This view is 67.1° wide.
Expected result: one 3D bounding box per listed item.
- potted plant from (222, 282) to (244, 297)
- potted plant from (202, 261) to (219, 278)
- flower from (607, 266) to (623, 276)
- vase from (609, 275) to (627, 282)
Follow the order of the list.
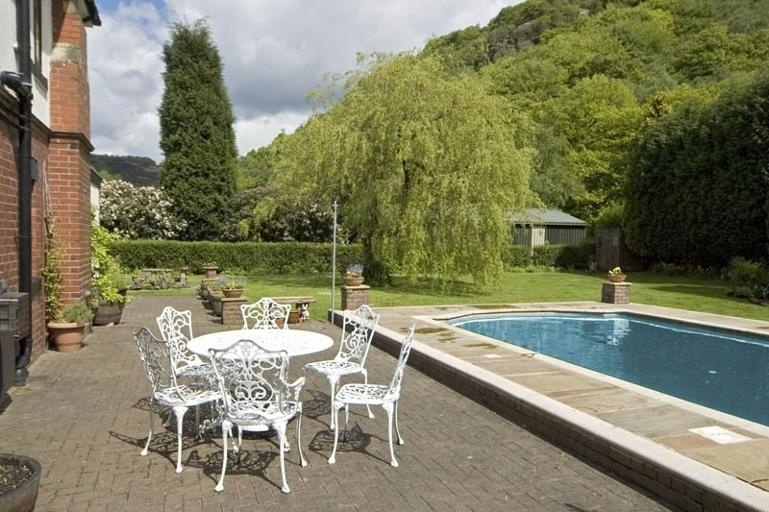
[{"bbox_3d":[-3.932,0.917,15.153,0.448,0.188,0.447,0,-6,-6],"label":"potted plant"},{"bbox_3d":[-7.714,0.578,25.812,0.805,0.872,0.665,-1,0,-24],"label":"potted plant"},{"bbox_3d":[9.465,0.603,23.757,0.379,0.191,0.376,-19,-3,-20],"label":"flower"},{"bbox_3d":[7.504,0.706,18.707,0.432,0.247,0.461,3,8,16],"label":"vase"}]
